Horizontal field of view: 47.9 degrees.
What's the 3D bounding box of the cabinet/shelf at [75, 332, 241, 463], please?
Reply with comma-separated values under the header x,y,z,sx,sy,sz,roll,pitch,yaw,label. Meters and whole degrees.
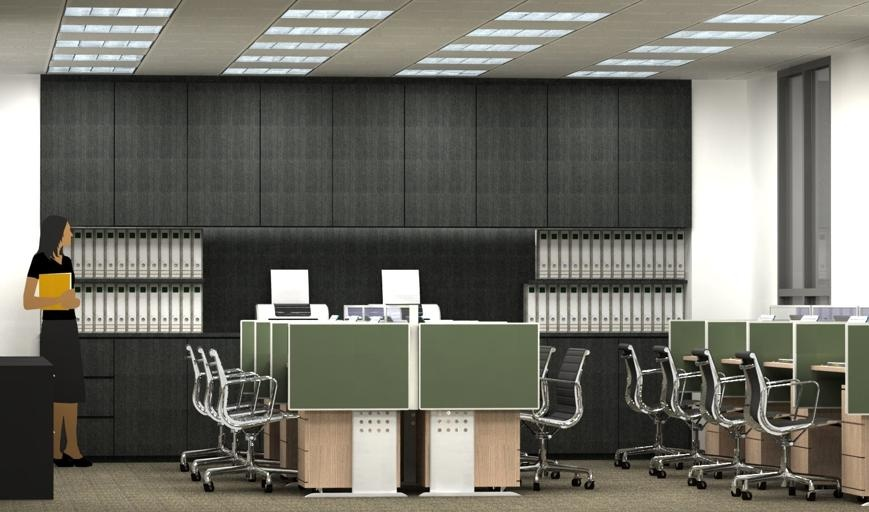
x,y,z,sx,sy,sz,roll,pitch,yaw,label
-4.065,2.118,14.088,2.249,1.610,0.678,0,-2,-6,cabinet/shelf
